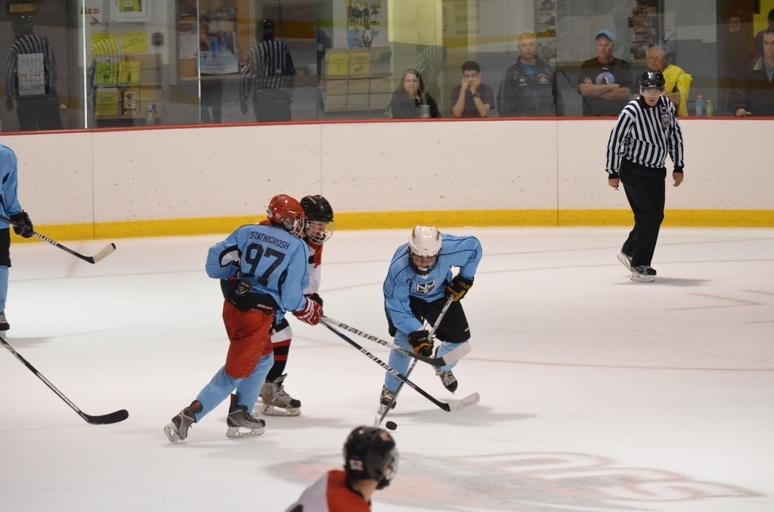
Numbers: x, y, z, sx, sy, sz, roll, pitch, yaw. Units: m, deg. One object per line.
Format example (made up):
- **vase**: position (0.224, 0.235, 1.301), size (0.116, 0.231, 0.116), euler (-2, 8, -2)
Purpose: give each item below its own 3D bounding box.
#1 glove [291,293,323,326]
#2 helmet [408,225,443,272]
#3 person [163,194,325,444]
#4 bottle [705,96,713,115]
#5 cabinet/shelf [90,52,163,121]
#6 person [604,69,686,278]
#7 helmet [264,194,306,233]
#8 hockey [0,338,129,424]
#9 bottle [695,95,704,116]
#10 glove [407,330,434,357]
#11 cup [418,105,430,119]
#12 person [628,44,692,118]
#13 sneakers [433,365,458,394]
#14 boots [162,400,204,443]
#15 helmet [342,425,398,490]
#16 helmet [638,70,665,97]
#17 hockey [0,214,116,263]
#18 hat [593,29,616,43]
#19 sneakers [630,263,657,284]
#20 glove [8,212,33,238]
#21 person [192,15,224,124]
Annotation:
- **glove**: position (-0.459, 0.295, 5.425), size (0.167, 0.183, 0.175), euler (-8, -27, 10)
- **helmet**: position (0.220, -0.038, 5.536), size (0.219, 0.245, 0.250), euler (2, -32, 1)
- **person**: position (-0.804, 0.349, 5.272), size (0.908, 1.374, 0.401), euler (-2, 11, -13)
- **bottle**: position (3.653, -1.708, 10.423), size (0.099, 0.204, 0.061), euler (2, 11, 4)
- **cabinet/shelf**: position (-3.015, -1.923, 10.632), size (0.913, 0.703, 0.204), euler (0, 2, -6)
- **person**: position (2.287, -0.712, 8.001), size (0.704, 1.757, 0.561), euler (-7, 14, -36)
- **helmet**: position (-0.572, -0.254, 5.322), size (0.246, 0.211, 0.187), euler (8, 12, -23)
- **hockey**: position (-1.936, 0.745, 5.571), size (0.937, 0.424, 0.329), euler (7, 12, 34)
- **bottle**: position (3.545, -1.717, 10.424), size (0.106, 0.221, 0.068), euler (2, 11, 6)
- **glove**: position (0.202, 0.524, 5.544), size (0.142, 0.154, 0.159), euler (-24, -21, -12)
- **cup**: position (0.419, -1.674, 10.687), size (0.169, 0.191, 0.160), euler (0, 2, 0)
- **person**: position (3.025, -1.884, 10.167), size (0.910, 0.802, 0.372), euler (9, 26, 27)
- **sneakers**: position (0.376, 0.766, 5.704), size (0.079, 0.216, 0.087), euler (-47, 11, -28)
- **boots**: position (-1.143, 0.923, 5.173), size (0.329, 0.118, 0.148), euler (-47, -26, 23)
- **helmet**: position (-0.064, 0.859, 3.927), size (0.234, 0.239, 0.271), euler (1, 1, 9)
- **helmet**: position (2.260, -1.488, 7.898), size (0.271, 0.246, 0.276), euler (0, 12, -2)
- **hockey**: position (-3.337, -0.177, 9.325), size (1.024, 0.163, 0.070), euler (28, -32, -19)
- **hat**: position (2.488, -2.529, 10.501), size (0.212, 0.133, 0.083), euler (2, 11, 10)
- **sneakers**: position (2.188, 0.143, 7.860), size (0.205, 0.119, 0.156), euler (3, 10, 13)
- **glove**: position (-2.914, -0.260, 7.336), size (0.182, 0.194, 0.176), euler (-17, 13, -9)
- **person**: position (-2.038, -2.158, 10.580), size (0.285, 1.219, 0.201), euler (-1, 11, -7)
